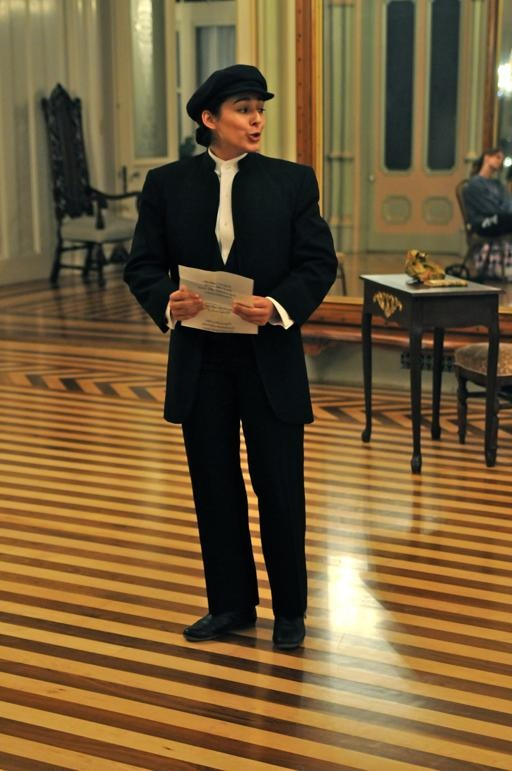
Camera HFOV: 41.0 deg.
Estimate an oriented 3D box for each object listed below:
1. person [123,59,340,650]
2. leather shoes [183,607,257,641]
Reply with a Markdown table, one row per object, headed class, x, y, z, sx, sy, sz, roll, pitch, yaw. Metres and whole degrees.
| class | x | y | z | sx | sy | sz | roll | pitch | yaw |
| --- | --- | --- | --- | --- | --- | --- | --- | --- | --- |
| person | -0.045 | -0.009 | 1.656 | 0.433 | 1.403 | 0.466 | 5 | 9 | 39 |
| leather shoes | -0.080 | 0.632 | 1.889 | 0.220 | 0.081 | 0.072 | -4 | 3 | -29 |
